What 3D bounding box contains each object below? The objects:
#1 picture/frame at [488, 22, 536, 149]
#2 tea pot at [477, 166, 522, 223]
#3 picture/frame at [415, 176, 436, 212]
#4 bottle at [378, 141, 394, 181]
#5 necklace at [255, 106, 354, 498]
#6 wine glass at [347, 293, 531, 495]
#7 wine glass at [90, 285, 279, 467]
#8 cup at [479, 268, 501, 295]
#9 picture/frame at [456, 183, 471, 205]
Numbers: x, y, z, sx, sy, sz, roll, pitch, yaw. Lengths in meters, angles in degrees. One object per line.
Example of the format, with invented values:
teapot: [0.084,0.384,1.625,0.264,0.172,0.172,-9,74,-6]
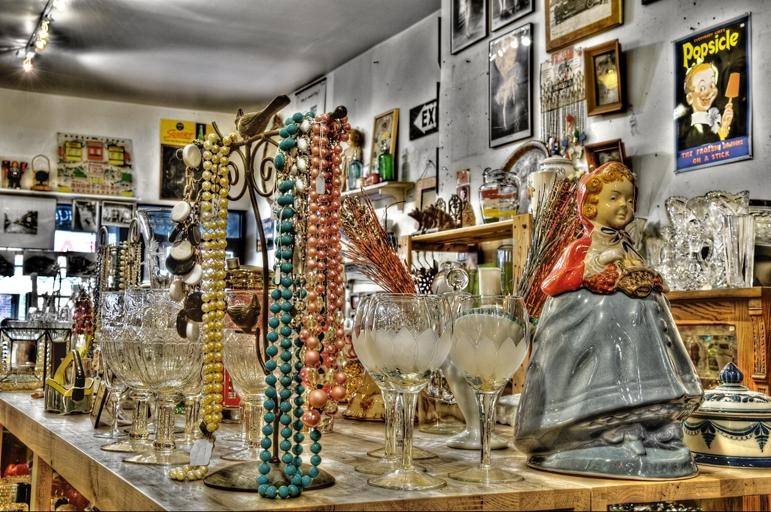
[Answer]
picture/frame: [0.675,-0.904,3.501,0.061,0.609,0.309,0,-3,-34]
tea pot: [0.584,-0.292,3.245,0.245,0.250,0.196,-1,6,36]
picture/frame: [0.270,-0.405,4.278,0.038,0.206,0.274,0,9,-33]
bottle: [-0.003,-0.689,4.751,0.110,0.312,0.207,-1,-3,-24]
necklace: [-0.136,0.056,1.051,0.159,0.605,0.163,-2,-3,-2]
wine glass: [0.105,0.248,1.163,0.318,0.316,0.158,2,-10,-14]
wine glass: [-0.330,0.220,1.235,0.261,0.405,0.285,2,-12,-8]
cup: [0.228,0.055,1.438,0.064,0.069,0.066,0,-3,0]
picture/frame: [0.448,-0.348,3.684,0.022,0.166,0.143,2,-1,-28]
